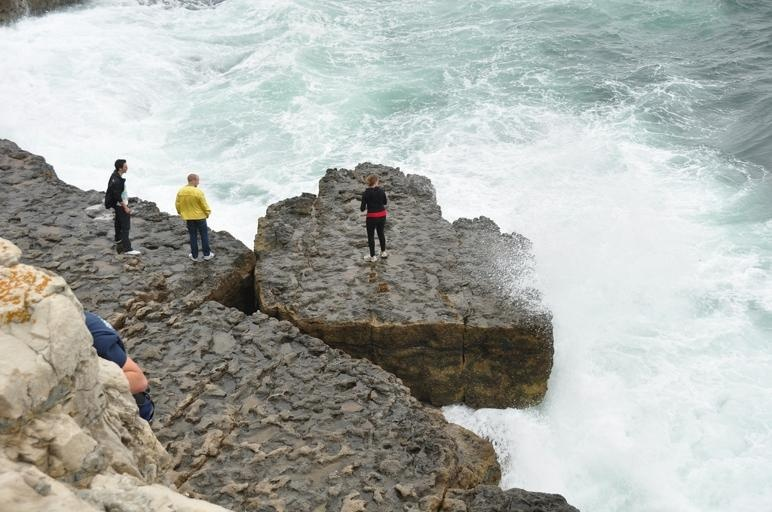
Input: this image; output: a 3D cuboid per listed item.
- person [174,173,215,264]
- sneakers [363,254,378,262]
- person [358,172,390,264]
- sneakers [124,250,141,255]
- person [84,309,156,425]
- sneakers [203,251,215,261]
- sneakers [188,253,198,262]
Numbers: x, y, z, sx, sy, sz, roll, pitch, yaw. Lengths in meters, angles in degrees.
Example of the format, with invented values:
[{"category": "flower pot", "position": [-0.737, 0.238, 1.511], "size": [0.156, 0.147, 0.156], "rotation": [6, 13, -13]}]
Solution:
[{"category": "person", "position": [-5.214, -1.008, 23.245], "size": [0.767, 2.352, 0.936], "rotation": [-14, 42, -23]}, {"category": "sneakers", "position": [-0.452, 0.075, 23.811], "size": [0.185, 0.143, 0.306], "rotation": [0, 20, -10]}, {"category": "person", "position": [-0.303, -1.124, 23.482], "size": [0.801, 2.528, 1.069], "rotation": [4, 38, -1]}, {"category": "sneakers", "position": [-6.981, -0.088, 23.454], "size": [0.363, 0.152, 0.144], "rotation": [-4, 42, -9]}, {"category": "person", "position": [-5.870, 2.754, 19.071], "size": [1.094, 3.244, 1.551], "rotation": [-12, 41, -21]}, {"category": "sneakers", "position": [-4.929, -0.007, 23.747], "size": [0.140, 0.151, 0.344], "rotation": [23, 38, 24]}, {"category": "sneakers", "position": [-5.367, 0.067, 23.677], "size": [0.338, 0.140, 0.142], "rotation": [32, 56, 5]}]
